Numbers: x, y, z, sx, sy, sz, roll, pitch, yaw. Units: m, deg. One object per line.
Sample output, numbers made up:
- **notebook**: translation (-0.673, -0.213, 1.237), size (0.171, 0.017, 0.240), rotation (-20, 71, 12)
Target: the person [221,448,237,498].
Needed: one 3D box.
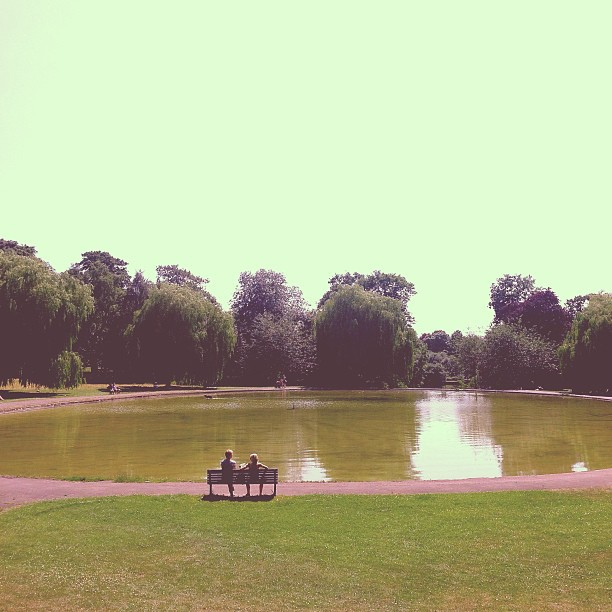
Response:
- **person**: translation (-1.549, 3.359, 18.565), size (0.312, 0.897, 1.203), rotation (0, -1, -6)
